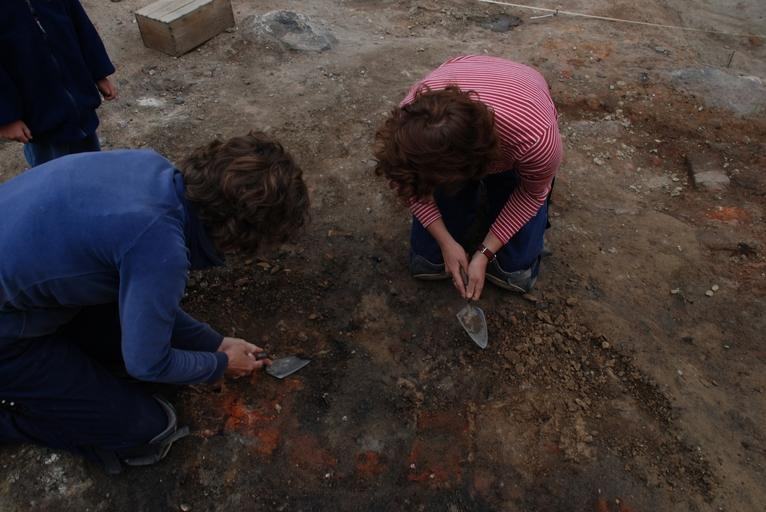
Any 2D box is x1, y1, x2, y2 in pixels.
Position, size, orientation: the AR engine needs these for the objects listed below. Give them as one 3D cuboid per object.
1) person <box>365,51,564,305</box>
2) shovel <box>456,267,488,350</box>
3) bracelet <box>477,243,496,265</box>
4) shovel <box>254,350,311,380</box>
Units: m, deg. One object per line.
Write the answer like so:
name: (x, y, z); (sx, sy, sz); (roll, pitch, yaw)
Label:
person: (0.587, -0.424, 3.937); (1.227, 1.500, 1.069); (-12, 56, -12)
shovel: (0.577, 0.380, 4.235); (0.187, 0.244, 0.582); (-22, 55, -6)
bracelet: (0.712, -0.008, 4.031); (0.066, 0.102, 0.109); (-48, 111, -14)
shovel: (-0.687, 0.772, 4.059); (0.493, 0.177, 0.150); (-3, 61, -9)
